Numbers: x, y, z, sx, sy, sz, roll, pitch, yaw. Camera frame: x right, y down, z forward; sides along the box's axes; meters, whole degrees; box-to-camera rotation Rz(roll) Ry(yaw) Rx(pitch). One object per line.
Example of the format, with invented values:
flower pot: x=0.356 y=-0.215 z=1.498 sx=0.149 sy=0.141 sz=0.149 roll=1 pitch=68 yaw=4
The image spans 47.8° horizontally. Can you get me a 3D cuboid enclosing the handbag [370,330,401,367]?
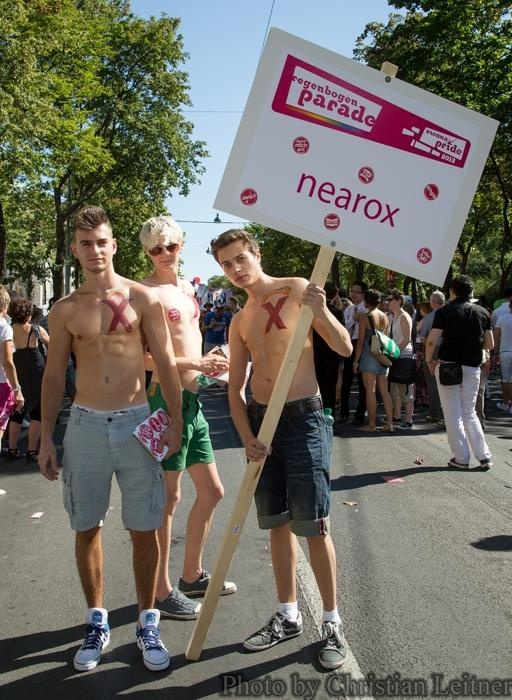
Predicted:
handbag: x=1.849 y=-0.002 z=8.337 sx=0.191 sy=0.372 sz=0.402 roll=-33 pitch=-52 yaw=32

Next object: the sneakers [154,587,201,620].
sneakers: x=-0.398 y=1.306 z=2.984 sx=0.255 sy=0.106 sz=0.113 roll=2 pitch=4 yaw=0

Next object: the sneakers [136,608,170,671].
sneakers: x=-0.449 y=1.248 z=2.492 sx=0.103 sy=0.145 sz=0.271 roll=-2 pitch=1 yaw=-13

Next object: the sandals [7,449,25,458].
sandals: x=-2.958 y=1.276 z=7.132 sx=0.081 sy=0.092 sz=0.231 roll=3 pitch=6 yaw=12

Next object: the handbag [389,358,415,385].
handbag: x=2.169 y=0.299 z=8.617 sx=0.415 sy=0.384 sz=0.177 roll=2 pitch=-2 yaw=1

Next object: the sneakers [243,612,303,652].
sneakers: x=0.072 y=1.272 z=2.664 sx=0.276 sy=0.101 sz=0.102 roll=-4 pitch=4 yaw=-35

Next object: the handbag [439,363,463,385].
handbag: x=2.121 y=0.259 z=6.282 sx=0.237 sy=0.213 sz=0.128 roll=-1 pitch=-8 yaw=22

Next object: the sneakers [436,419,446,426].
sneakers: x=2.832 y=1.117 z=8.877 sx=0.094 sy=0.112 sz=0.272 roll=-1 pitch=-11 yaw=7

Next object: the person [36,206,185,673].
person: x=-0.634 y=0.367 z=2.576 sx=0.726 sy=1.960 sz=0.632 roll=8 pitch=9 yaw=8

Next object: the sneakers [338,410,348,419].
sneakers: x=1.411 y=1.048 z=9.308 sx=0.159 sy=0.122 sz=0.208 roll=-2 pitch=-27 yaw=11

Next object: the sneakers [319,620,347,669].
sneakers: x=0.332 y=1.242 z=2.469 sx=0.120 sy=0.136 sz=0.206 roll=8 pitch=9 yaw=9

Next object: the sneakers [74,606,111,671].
sneakers: x=-0.708 y=1.256 z=2.513 sx=0.089 sy=0.137 sz=0.245 roll=-1 pitch=-2 yaw=2

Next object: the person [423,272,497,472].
person: x=2.266 y=0.213 z=6.391 sx=0.850 sy=2.014 sz=0.950 roll=8 pitch=9 yaw=9

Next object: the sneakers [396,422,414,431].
sneakers: x=2.232 y=1.149 z=8.712 sx=0.297 sy=0.115 sz=0.104 roll=0 pitch=6 yaw=-17
